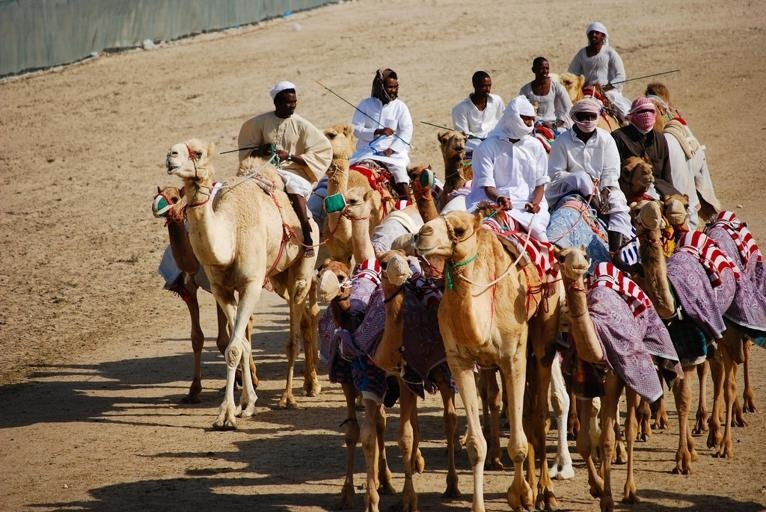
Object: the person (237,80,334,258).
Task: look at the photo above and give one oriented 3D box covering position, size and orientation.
[{"bbox_3d":[-1.764,-1.677,21.262,1.301,3.479,1.197,0,2,-26],"label":"person"}]
